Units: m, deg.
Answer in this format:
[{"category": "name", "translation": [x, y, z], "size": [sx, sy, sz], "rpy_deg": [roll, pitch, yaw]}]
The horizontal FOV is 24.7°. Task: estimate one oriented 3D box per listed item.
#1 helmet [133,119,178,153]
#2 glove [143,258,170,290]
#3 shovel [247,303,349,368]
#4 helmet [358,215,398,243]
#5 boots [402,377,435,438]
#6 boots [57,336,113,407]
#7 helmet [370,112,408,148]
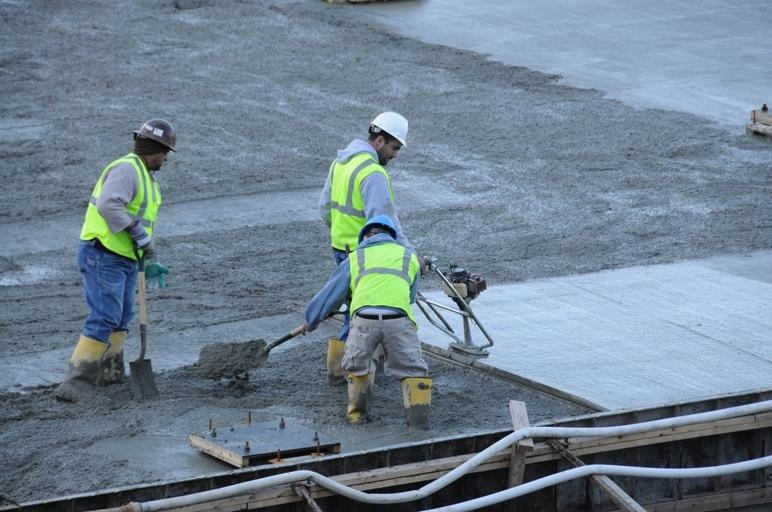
[{"category": "helmet", "translation": [-2.946, -1.614, 23.691], "size": [0.633, 0.264, 0.467], "rpy_deg": [21, 4, -19]}, {"category": "glove", "translation": [-3.114, 0.176, 23.927], "size": [0.476, 0.364, 0.179], "rpy_deg": [7, 29, -9]}, {"category": "shovel", "translation": [-1.588, 1.161, 24.034], "size": [2.281, 0.371, 0.453], "rpy_deg": [-16, -12, 36]}, {"category": "helmet", "translation": [-0.115, -0.391, 23.302], "size": [0.341, 0.453, 0.207], "rpy_deg": [34, 51, -26]}, {"category": "boots", "translation": [0.393, 1.898, 23.119], "size": [0.297, 0.658, 0.519], "rpy_deg": [-3, 34, -27]}, {"category": "boots", "translation": [-4.013, 1.488, 23.428], "size": [0.533, 0.790, 0.599], "rpy_deg": [11, 30, -6]}, {"category": "helmet", "translation": [0.090, -1.726, 23.762], "size": [0.630, 0.310, 0.406], "rpy_deg": [21, 16, 4]}]
